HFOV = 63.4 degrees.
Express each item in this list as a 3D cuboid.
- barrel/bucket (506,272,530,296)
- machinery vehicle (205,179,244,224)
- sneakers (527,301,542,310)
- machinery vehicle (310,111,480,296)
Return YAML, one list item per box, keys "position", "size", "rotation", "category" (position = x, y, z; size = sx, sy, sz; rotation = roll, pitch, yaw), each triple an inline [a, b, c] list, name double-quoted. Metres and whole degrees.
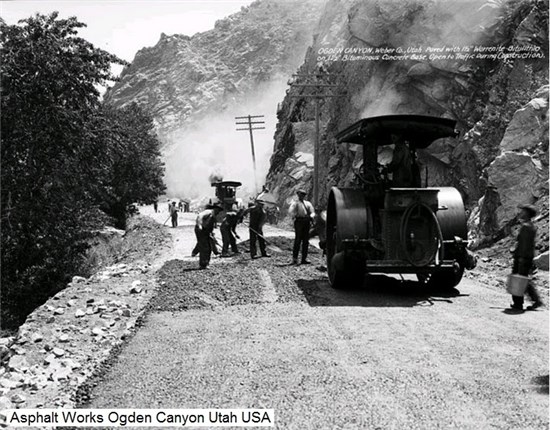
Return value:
- position: [4.635, 1.312, 8.458]
  size: [0.359, 0.402, 0.251]
  rotation: [4, 12, 27]
  category: "barrel/bucket"
- position: [-4.215, -1.692, 34.331]
  size: [2.219, 1.563, 2.532]
  rotation: [-11, -1, 34]
  category: "machinery vehicle"
- position: [5.014, 1.751, 8.592]
  size: [0.165, 0.081, 0.279]
  rotation: [-31, -20, 33]
  category: "sneakers"
- position: [2.753, -0.400, 10.961]
  size: [2.851, 3.758, 4.817]
  rotation: [1, 6, 0]
  category: "machinery vehicle"
